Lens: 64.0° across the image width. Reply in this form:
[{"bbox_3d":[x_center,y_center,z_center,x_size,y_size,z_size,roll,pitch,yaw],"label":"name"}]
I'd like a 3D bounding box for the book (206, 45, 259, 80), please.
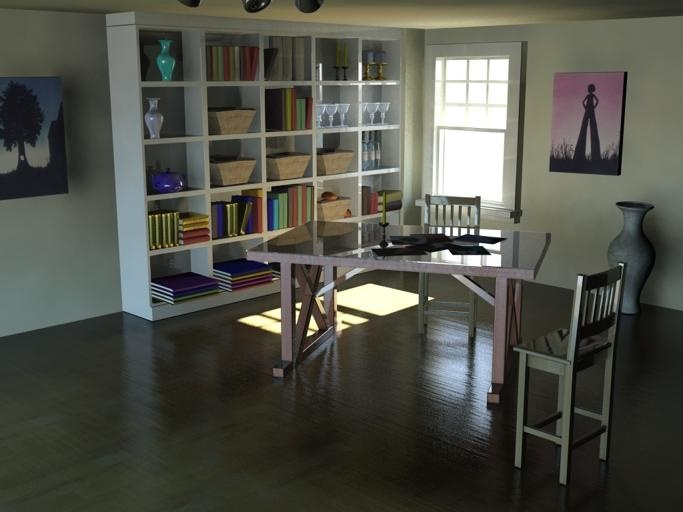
[{"bbox_3d":[-1.163,-2.068,5.862,0.594,0.347,0.057,-10,17,-31],"label":"book"}]

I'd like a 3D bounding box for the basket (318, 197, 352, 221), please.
[{"bbox_3d":[-0.084,-0.612,6.853,0.387,0.189,0.277,-11,15,-42],"label":"basket"}]

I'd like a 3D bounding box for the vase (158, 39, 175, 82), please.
[{"bbox_3d":[-1.783,-1.996,5.557,0.190,0.414,0.342,-4,15,-15],"label":"vase"}]

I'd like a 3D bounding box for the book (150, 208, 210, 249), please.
[{"bbox_3d":[-1.727,-0.302,5.667,0.500,0.172,0.396,6,12,28],"label":"book"}]

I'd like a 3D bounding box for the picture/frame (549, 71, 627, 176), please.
[{"bbox_3d":[2.750,-1.498,6.147,0.818,1.099,0.101,12,19,39],"label":"picture/frame"}]

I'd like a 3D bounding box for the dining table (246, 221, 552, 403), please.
[{"bbox_3d":[0.463,0.360,4.548,2.095,1.139,1.289,5,16,20],"label":"dining table"}]

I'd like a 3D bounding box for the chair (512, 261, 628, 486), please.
[{"bbox_3d":[1.355,0.643,3.270,0.650,1.230,0.481,-14,20,-43],"label":"chair"}]

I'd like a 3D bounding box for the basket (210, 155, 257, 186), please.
[{"bbox_3d":[-1.210,-0.928,6.012,0.404,0.185,0.337,5,9,39],"label":"basket"}]

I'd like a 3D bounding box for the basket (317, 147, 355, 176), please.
[{"bbox_3d":[-0.081,-1.162,6.767,0.396,0.193,0.344,3,8,32],"label":"basket"}]

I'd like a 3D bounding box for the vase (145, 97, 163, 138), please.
[{"bbox_3d":[-1.891,-1.390,5.491,0.168,0.393,0.359,-5,16,-18],"label":"vase"}]
